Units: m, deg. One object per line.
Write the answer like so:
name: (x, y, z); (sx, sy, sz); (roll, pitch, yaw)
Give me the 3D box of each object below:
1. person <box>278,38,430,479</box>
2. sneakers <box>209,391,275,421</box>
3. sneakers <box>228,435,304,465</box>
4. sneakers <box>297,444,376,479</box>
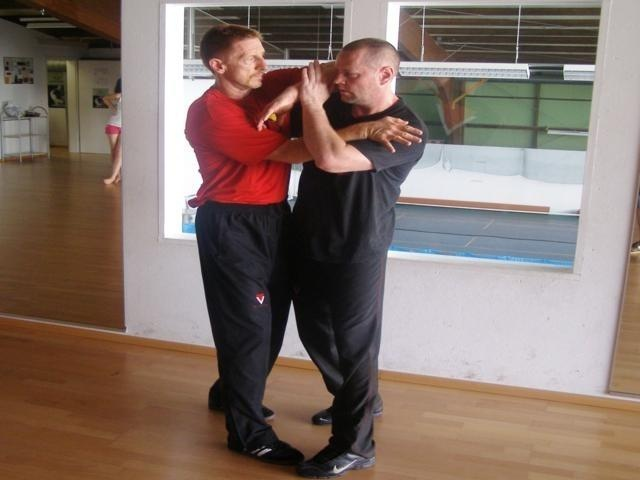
person: (0.121, 0.118, 2.214); (0.484, 1.806, 0.416); (2, 11, -6)
sneakers: (-0.398, 0.864, 2.732); (0.433, 0.146, 0.122); (-1, 2, 8)
sneakers: (-0.213, 0.944, 2.419); (0.376, 0.126, 0.122); (6, 3, 6)
sneakers: (0.058, 0.971, 2.359); (0.358, 0.137, 0.114); (1, -7, -13)
